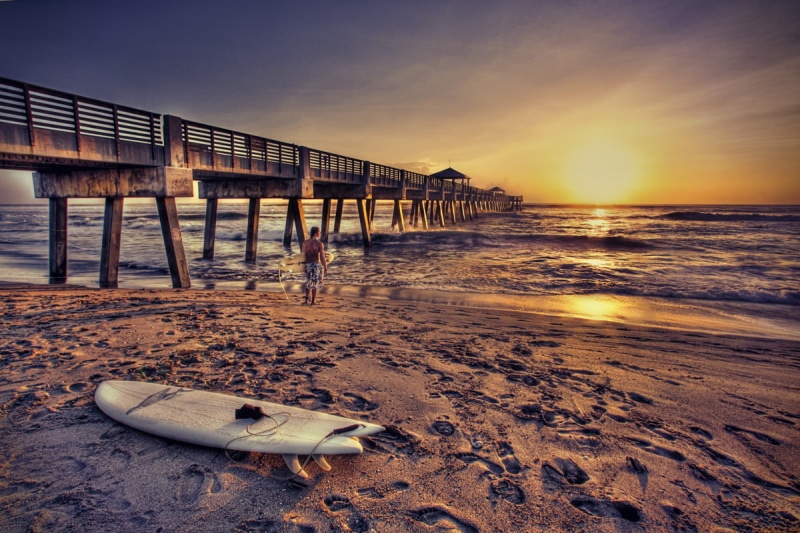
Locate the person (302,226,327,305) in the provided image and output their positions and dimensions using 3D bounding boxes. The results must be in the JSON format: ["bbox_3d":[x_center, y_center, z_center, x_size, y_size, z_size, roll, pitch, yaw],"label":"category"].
[{"bbox_3d":[-1.937,0.002,11.965,0.522,1.758,0.601,3,15,-8],"label":"person"}]

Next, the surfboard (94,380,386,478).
[{"bbox_3d":[-2.196,2.153,7.325,5.036,0.696,1.299,6,15,7],"label":"surfboard"}]
